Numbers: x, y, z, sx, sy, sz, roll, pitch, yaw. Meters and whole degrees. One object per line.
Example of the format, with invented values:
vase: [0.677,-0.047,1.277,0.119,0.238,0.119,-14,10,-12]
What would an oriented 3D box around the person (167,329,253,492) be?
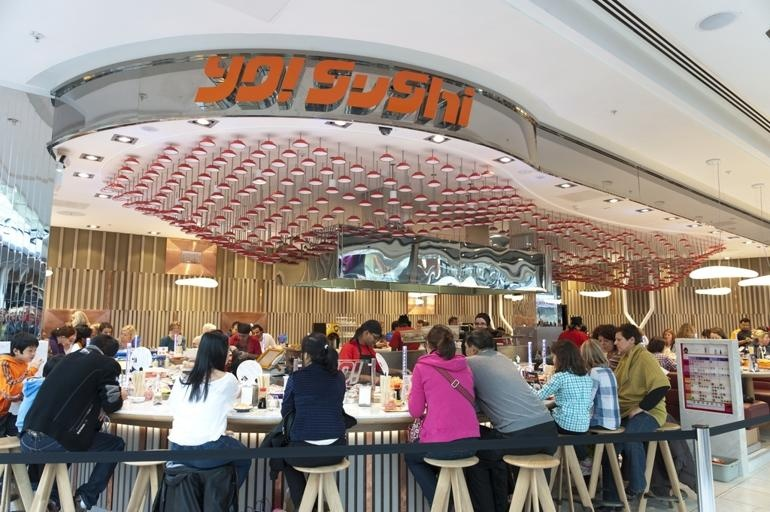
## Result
person: [-1.795,1.541,5.459,0.803,1.592,0.700,2,-12,-13]

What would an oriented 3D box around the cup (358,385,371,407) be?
cup: [-0.240,1.681,6.519,0.216,0.227,0.204,0,-4,0]

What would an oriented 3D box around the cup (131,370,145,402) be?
cup: [-3.112,1.612,6.749,0.172,0.358,0.279,4,-12,-24]

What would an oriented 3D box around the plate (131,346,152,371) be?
plate: [-3.354,1.397,7.382,0.250,0.286,0.407,4,-12,-25]

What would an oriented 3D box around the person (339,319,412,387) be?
person: [-0.336,1.496,8.060,0.841,1.034,0.755,6,0,-33]

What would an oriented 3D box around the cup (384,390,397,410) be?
cup: [0.064,1.700,6.378,0.155,0.067,0.202,-1,21,-2]

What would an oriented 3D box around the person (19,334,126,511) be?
person: [-3.367,1.813,5.836,0.944,1.940,0.861,2,-12,-12]
